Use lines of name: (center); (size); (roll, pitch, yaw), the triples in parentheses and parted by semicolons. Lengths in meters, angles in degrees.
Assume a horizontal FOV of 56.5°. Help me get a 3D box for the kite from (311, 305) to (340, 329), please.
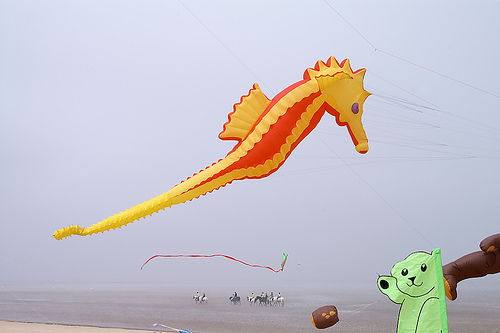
kite: (0.970, 1.964, 6.103); (0.315, 0.254, 0.270); (-19, -51, 0)

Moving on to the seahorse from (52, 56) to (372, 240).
seahorse: (-0.467, -0.255, 5.876); (4.220, 1.775, 0.850); (-10, -24, 3)
